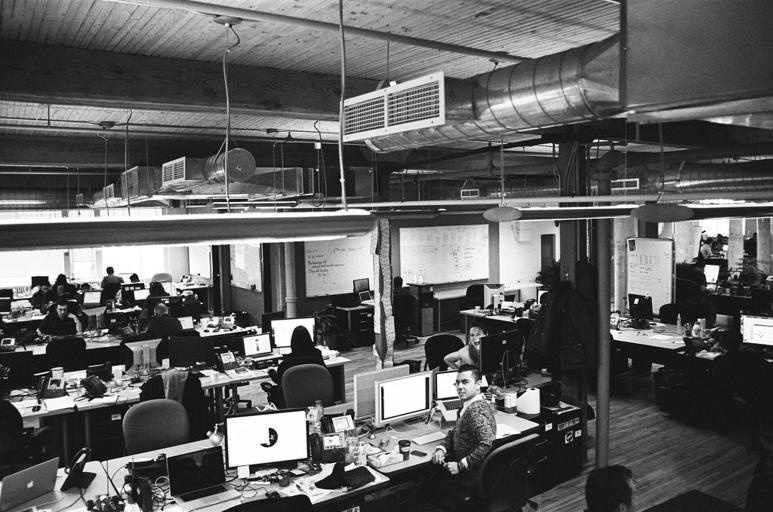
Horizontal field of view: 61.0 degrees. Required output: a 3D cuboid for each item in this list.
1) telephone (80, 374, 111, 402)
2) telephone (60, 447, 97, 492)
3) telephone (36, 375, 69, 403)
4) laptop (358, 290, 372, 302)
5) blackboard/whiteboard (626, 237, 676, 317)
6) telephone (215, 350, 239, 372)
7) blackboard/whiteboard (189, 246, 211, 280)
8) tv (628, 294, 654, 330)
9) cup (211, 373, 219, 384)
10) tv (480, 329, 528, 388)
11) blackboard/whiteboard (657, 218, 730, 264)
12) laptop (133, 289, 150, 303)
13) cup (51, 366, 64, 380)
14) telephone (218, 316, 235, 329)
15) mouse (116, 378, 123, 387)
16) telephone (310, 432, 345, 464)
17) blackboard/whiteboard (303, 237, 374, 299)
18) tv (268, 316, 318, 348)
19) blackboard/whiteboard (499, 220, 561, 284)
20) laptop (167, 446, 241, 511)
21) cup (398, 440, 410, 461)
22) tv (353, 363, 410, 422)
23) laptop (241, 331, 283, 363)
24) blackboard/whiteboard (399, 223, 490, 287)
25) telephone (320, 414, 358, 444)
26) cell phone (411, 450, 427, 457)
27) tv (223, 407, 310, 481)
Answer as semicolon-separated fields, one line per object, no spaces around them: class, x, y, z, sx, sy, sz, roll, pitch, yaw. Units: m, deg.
telephone;-3.870;1.805;8.808;0.245;0.096;0.329;22;11;6
telephone;-3.157;2.194;6.743;0.319;0.329;0.375;-2;10;-22
telephone;-4.417;1.787;8.703;0.314;0.299;0.223;5;0;-40
laptop;-0.479;0.973;15.172;0.300;0.190;0.217;-2;-5;-38
blackboard/whiteboard;5.409;0.459;13.371;0.169;1.151;1.622;-1;3;-15
telephone;-2.440;1.636;10.089;0.387;0.358;0.221;10;-42;-47
blackboard/whiteboard;-5.662;0.225;20.068;0.044;1.002;1.037;0;0;-42
tv;4.638;1.064;11.979;0.349;0.542;0.524;2;4;-39
cup;-2.448;1.768;9.414;0.102;0.109;0.100;0;-2;0
tv;1.576;1.422;8.811;0.672;0.594;0.360;-6;11;-22
blackboard/whiteboard;8.320;-0.372;17.785;1.232;1.175;1.094;3;5;32
laptop;-5.573;0.948;14.936;0.318;0.211;0.032;1;-19;-44
cup;-4.435;1.611;8.902;0.167;0.160;0.155;0;-5;0
telephone;-3.047;1.304;12.615;0.245;0.216;0.231;2;-6;-39
mouse;-3.712;1.796;9.167;0.098;0.092;0.098;4;-10;-30
telephone;-0.623;2.092;7.087;0.487;0.339;0.284;0;1;0
blackboard/whiteboard;-1.172;0.334;15.236;1.517;1.013;0.024;-5;2;-37
tv;-1.498;1.259;10.498;0.539;0.355;0.148;0;-2;-13
blackboard/whiteboard;3.924;-0.074;18.394;1.848;1.725;1.281;-3;3;-43
laptop;-1.889;2.256;6.617;0.631;0.437;0.521;-2;-2;-27
cup;0.202;2.147;7.177;0.142;0.139;0.140;-1;-1;0
tv;-0.038;1.658;7.732;0.919;0.605;0.088;-3;3;-35
laptop;-2.050;1.486;10.517;0.532;0.306;0.398;-1;-1;-31
blackboard/whiteboard;1.564;-0.002;17.490;3.195;1.568;0.321;-6;12;-39
telephone;-0.552;1.884;7.329;0.425;0.235;0.390;2;37;-16
cell phone;0.361;2.191;7.192;0.129;0.023;0.223;-4;1;-40
tv;-1.236;1.997;6.826;0.755;0.537;0.240;-2;-8;-14
